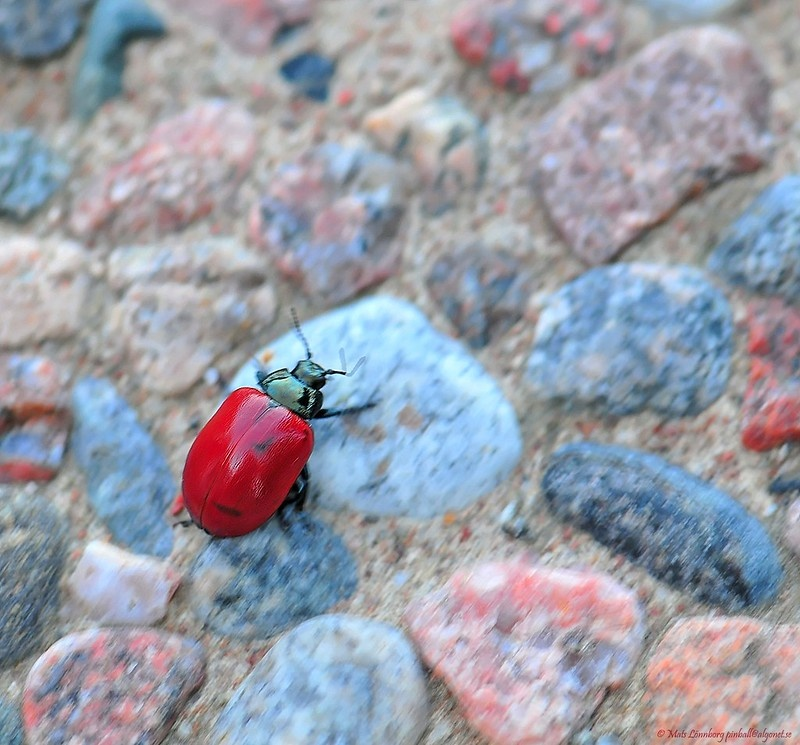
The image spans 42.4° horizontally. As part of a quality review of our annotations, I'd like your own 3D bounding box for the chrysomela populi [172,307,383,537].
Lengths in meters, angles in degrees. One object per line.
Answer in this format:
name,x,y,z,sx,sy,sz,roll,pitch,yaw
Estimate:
chrysomela populi,-0.381,0.212,3.276,0.410,0.232,0.702,27,72,15
